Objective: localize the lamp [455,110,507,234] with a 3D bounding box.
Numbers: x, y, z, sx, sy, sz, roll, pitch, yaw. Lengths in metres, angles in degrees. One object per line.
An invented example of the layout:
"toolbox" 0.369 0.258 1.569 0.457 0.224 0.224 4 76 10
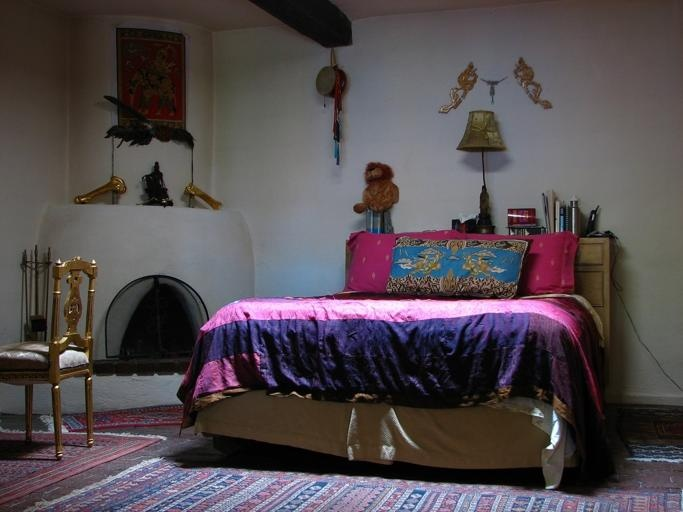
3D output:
"lamp" 1.121 -0.664 4.805 0.364 0.974 0.351 0 3 16

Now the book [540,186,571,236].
"book" 1.642 -0.330 4.613 0.089 0.330 0.230 -3 7 10
